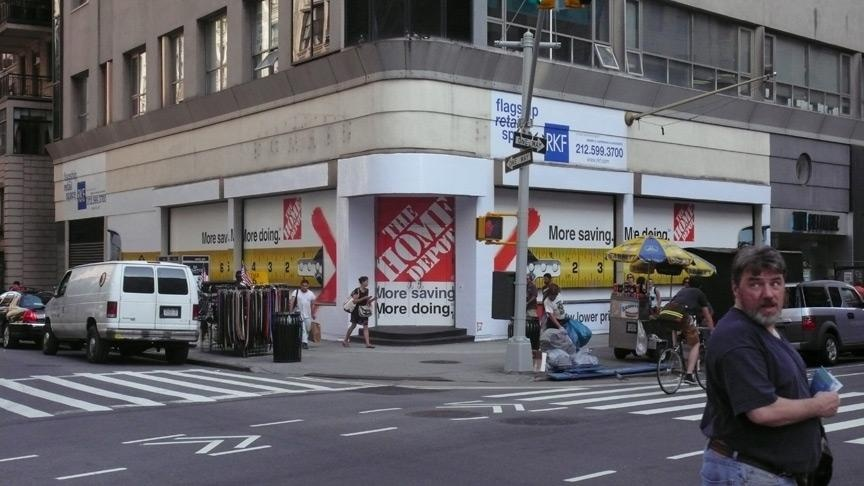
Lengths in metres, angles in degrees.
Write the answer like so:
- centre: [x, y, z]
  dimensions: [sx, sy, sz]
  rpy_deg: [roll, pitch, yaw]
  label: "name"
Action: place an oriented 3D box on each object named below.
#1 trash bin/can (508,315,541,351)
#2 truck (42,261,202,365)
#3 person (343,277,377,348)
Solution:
- centre: [3.766, 3.644, 44.121]
  dimensions: [1.225, 1.747, 1.194]
  rpy_deg: [0, 0, -17]
  label: "trash bin/can"
- centre: [-12.394, 2.947, 44.597]
  dimensions: [8.035, 4.023, 3.624]
  rpy_deg: [-3, -3, 44]
  label: "truck"
- centre: [-3.031, 2.878, 47.857]
  dimensions: [1.061, 3.303, 1.184]
  rpy_deg: [-4, -2, 40]
  label: "person"
